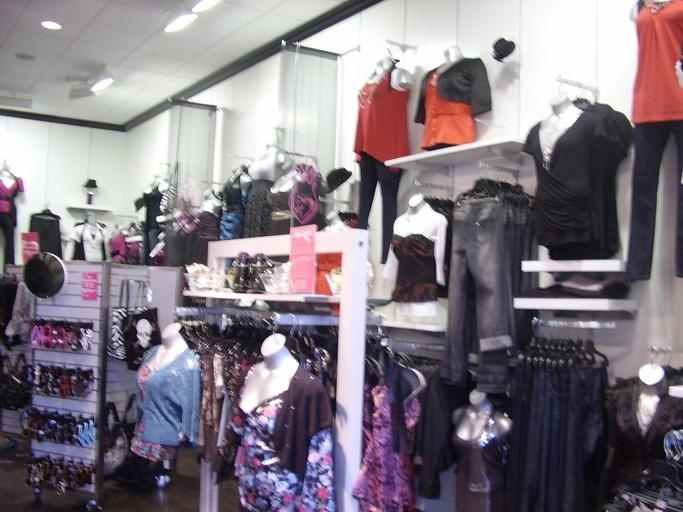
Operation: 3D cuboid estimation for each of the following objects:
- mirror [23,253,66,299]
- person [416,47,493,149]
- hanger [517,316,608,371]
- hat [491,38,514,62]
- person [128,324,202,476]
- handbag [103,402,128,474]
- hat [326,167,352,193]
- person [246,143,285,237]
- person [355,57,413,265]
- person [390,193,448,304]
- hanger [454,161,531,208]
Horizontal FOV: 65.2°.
[{"bbox_3d":[-2.281,0.152,4.097,0.311,0.359,0.055,-1,-2,17],"label":"mirror"},{"bbox_3d":[0.797,-1.175,3.985,0.580,0.825,0.350,1,-6,41],"label":"person"},{"bbox_3d":[1.268,0.538,3.174,0.269,0.145,0.374,2,2,7],"label":"hanger"},{"bbox_3d":[1.118,-1.440,3.689,0.157,0.157,0.200,0,-2,18],"label":"hat"},{"bbox_3d":[-1.103,0.891,3.351,0.569,0.933,0.196,-1,-3,28],"label":"person"},{"bbox_3d":[-1.773,1.426,4.188,0.148,0.491,0.341,2,2,0],"label":"handbag"},{"bbox_3d":[-0.029,-0.636,4.545,0.214,0.172,0.073,-39,-26,6],"label":"hat"},{"bbox_3d":[-0.681,-0.585,4.622,0.358,0.837,0.317,-1,-3,25],"label":"person"},{"bbox_3d":[0.332,-0.769,4.325,0.522,1.669,0.381,-1,-3,24],"label":"person"},{"bbox_3d":[0.522,-0.038,3.723,0.388,0.761,0.139,-1,-3,40],"label":"person"},{"bbox_3d":[1.008,-0.477,3.469,0.538,0.312,0.281,2,-2,-28],"label":"hanger"}]
